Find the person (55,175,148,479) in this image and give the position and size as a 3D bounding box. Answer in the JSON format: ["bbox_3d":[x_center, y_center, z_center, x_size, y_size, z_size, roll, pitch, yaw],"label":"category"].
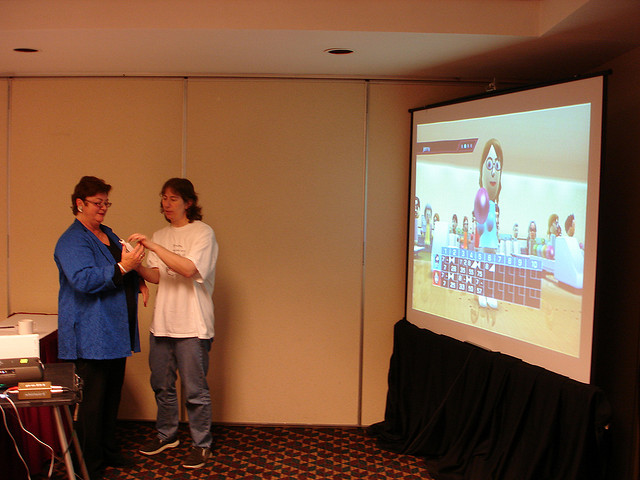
[{"bbox_3d":[-1.528,0.631,3.857,0.586,2.117,0.411,-4,6,-27],"label":"person"}]

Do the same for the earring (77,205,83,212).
[{"bbox_3d":[-1.660,-0.210,3.772,0.029,0.046,0.014,2,7,17],"label":"earring"}]

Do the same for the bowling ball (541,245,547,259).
[{"bbox_3d":[1.521,0.081,3.735,0.057,0.064,0.060,-6,-10,-1],"label":"bowling ball"}]

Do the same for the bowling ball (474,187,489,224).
[{"bbox_3d":[1.195,-0.248,4.053,0.097,0.236,0.102,2,3,0],"label":"bowling ball"}]

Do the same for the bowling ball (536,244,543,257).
[{"bbox_3d":[1.505,0.073,3.750,0.018,0.075,0.072,3,-20,3],"label":"bowling ball"}]

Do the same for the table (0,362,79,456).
[{"bbox_3d":[-1.607,1.016,3.210,0.444,0.457,0.462,-2,5,-12],"label":"table"}]
